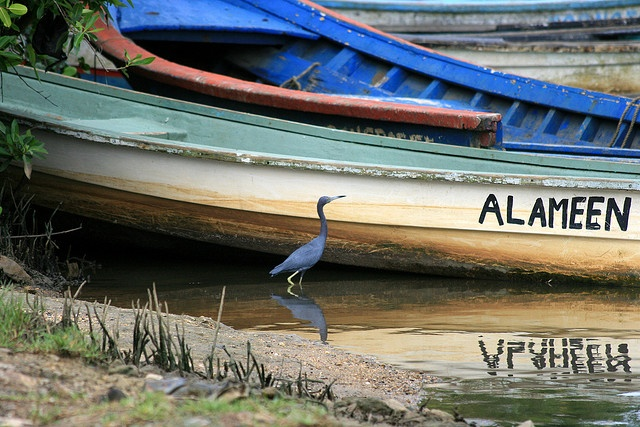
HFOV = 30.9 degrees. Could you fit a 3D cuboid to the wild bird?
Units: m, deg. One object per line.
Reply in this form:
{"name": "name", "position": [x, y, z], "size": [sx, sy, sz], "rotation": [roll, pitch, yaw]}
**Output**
{"name": "wild bird", "position": [-0.089, 0.323, 13.601], "size": [0.765, 1.073, 0.609], "rotation": [2, -11, 17]}
